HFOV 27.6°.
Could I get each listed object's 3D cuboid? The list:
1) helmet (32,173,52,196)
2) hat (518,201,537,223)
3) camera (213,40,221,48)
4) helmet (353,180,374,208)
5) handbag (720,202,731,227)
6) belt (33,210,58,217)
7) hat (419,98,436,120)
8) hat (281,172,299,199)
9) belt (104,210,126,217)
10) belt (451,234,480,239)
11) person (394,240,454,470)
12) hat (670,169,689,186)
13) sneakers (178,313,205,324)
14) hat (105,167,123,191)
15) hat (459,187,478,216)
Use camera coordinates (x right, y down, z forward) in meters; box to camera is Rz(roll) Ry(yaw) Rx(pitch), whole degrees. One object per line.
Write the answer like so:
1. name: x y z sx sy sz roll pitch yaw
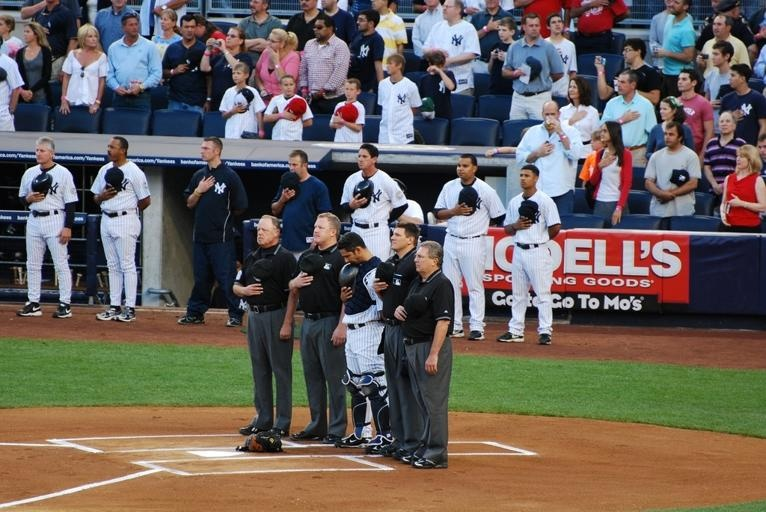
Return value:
1. helmet: -5.729 -1.305 28.243 0.345 0.386 0.229 3 -5 -23
2. hat: 2.507 -0.763 27.243 0.271 0.342 0.362 8 17 27
3. camera: -3.043 -4.203 31.299 0.115 0.114 0.117 -1 -3 8
4. helmet: -0.200 -1.095 27.247 0.280 0.408 0.208 14 -14 28
5. handbag: 6.125 -0.789 29.107 0.131 0.360 0.252 6 8 17
6. belt: -5.731 -0.779 28.499 0.436 0.113 0.130 0 -5 10
7. hat: 0.970 -2.923 31.437 0.346 0.420 0.360 0 7 7
8. hat: -1.451 -1.256 27.760 0.285 0.387 0.352 2 6 4
9. belt: -4.502 -0.761 28.436 0.446 0.136 0.144 1 -5 -2
10. belt: 1.462 -0.343 27.614 0.427 0.072 0.106 0 -5 4
11. person: 0.693 1.436 23.174 0.745 3.303 0.466 0 -4 4
12. hat: 5.299 -1.449 28.932 0.295 0.283 0.220 -3 -6 37
13. sneakers: -3.234 1.156 28.938 0.485 0.225 0.189 5 1 -20
14. hat: -4.507 -1.369 28.229 0.274 0.392 0.390 3 -40 -21
15. hat: 1.516 -1.002 27.481 0.306 0.371 0.444 4 5 9
